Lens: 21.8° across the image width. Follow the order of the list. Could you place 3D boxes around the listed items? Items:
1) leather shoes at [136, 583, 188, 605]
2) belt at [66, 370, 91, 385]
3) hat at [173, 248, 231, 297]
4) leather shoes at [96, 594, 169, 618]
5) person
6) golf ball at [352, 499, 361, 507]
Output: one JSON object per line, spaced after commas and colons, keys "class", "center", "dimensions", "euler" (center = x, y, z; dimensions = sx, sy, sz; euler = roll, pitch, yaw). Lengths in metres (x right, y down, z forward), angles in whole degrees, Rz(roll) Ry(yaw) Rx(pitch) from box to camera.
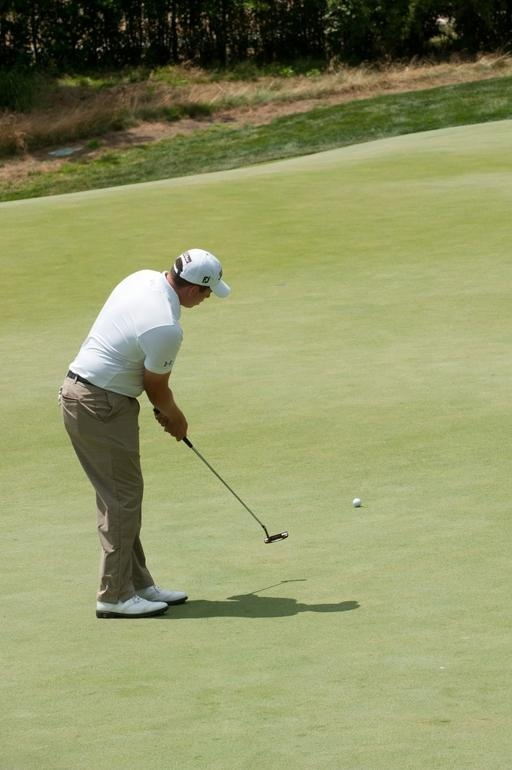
{"class": "leather shoes", "center": [-0.385, 0.895, 5.684], "dimensions": [0.237, 0.081, 0.075], "euler": [2, 5, -1]}
{"class": "belt", "center": [-0.709, -0.027, 5.329], "dimensions": [0.066, 0.016, 0.064], "euler": [22, -5, 16]}
{"class": "hat", "center": [-0.196, -0.468, 5.381], "dimensions": [0.261, 0.130, 0.161], "euler": [22, 23, -11]}
{"class": "leather shoes", "center": [-0.508, 0.928, 5.553], "dimensions": [0.301, 0.118, 0.102], "euler": [-1, -2, -2]}
{"class": "person", "center": [-0.442, 0.215, 5.444], "dimensions": [0.671, 1.502, 0.371], "euler": [-6, 11, -7]}
{"class": "golf ball", "center": [0.524, 0.600, 6.715], "dimensions": [0.038, 0.035, 0.040], "euler": [-6, 47, 7]}
